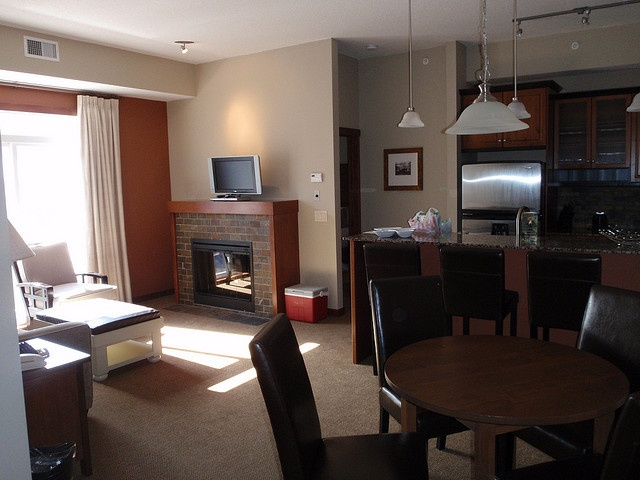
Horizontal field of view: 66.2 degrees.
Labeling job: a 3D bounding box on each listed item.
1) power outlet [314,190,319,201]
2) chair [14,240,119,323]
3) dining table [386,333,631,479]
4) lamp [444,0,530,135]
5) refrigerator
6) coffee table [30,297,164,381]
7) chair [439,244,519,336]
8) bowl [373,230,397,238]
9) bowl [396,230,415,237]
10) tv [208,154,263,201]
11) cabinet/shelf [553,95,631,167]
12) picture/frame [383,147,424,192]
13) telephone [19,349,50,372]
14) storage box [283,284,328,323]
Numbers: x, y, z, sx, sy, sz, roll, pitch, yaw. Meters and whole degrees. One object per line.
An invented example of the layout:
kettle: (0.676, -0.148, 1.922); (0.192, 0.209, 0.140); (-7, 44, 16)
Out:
power outlet: (-0.052, -0.545, 5.983); (0.091, 0.129, 0.012); (3, 11, 27)
chair: (-3.008, 0.542, 5.812); (1.222, 1.135, 0.917); (4, 9, 33)
dining table: (0.837, 0.660, 2.264); (0.753, 0.366, 0.765); (-6, 11, -23)
lamp: (1.053, -1.123, 3.097); (0.509, 0.875, 0.598); (2, 11, 23)
refrigerator: (2.148, -0.497, 5.713); (0.822, 1.391, 0.476); (2, 3, 29)
coffee table: (-2.160, 0.913, 4.772); (1.041, 0.523, 0.761); (6, 10, 37)
chair: (1.201, 0.385, 3.703); (0.566, 0.698, 0.306); (1, 10, 16)
bowl: (0.586, -0.063, 4.500); (0.210, 0.052, 0.193); (-2, 10, 0)
bowl: (0.764, -0.061, 4.384); (0.141, 0.077, 0.150); (-2, 10, 0)
tv: (-1.122, -0.826, 6.299); (0.822, 0.477, 0.169); (7, 13, 39)
cabinet/shelf: (3.381, -1.340, 5.990); (0.842, 0.854, 0.340); (2, 4, 30)
picture/frame: (1.171, -0.988, 6.760); (0.581, 0.620, 0.044); (4, 6, 32)
telephone: (-1.665, 0.674, 2.846); (0.127, 0.104, 0.218); (-7, 12, -27)
storage box: (-0.171, 0.754, 5.967); (0.437, 0.381, 0.351); (2, 9, 30)
